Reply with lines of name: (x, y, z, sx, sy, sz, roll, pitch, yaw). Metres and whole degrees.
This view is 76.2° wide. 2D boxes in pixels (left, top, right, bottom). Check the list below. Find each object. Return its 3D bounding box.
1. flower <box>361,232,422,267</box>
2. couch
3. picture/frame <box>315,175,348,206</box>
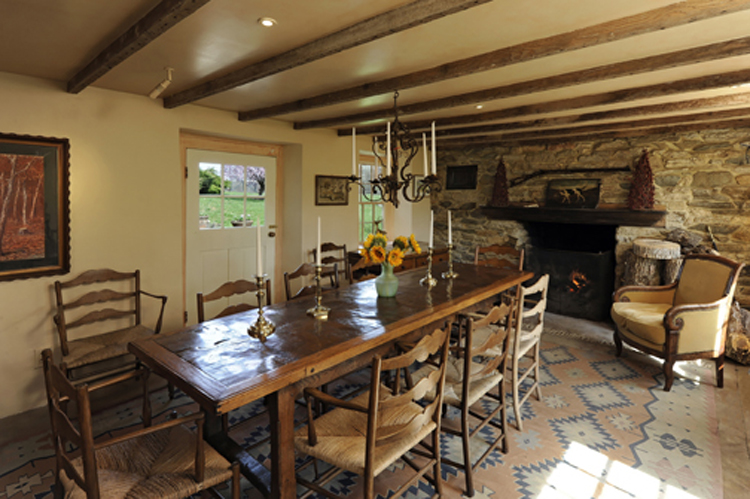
flower: (0.200, -0.015, 4.144, 0.563, 0.315, 0.420, -8, 3, -39)
couch: (3.213, 0.721, 5.533, 1.467, 1.683, 1.302, 1, 0, -16)
picture/frame: (-0.590, -0.789, 6.327, 0.020, 0.305, 0.493, 1, 3, 41)
